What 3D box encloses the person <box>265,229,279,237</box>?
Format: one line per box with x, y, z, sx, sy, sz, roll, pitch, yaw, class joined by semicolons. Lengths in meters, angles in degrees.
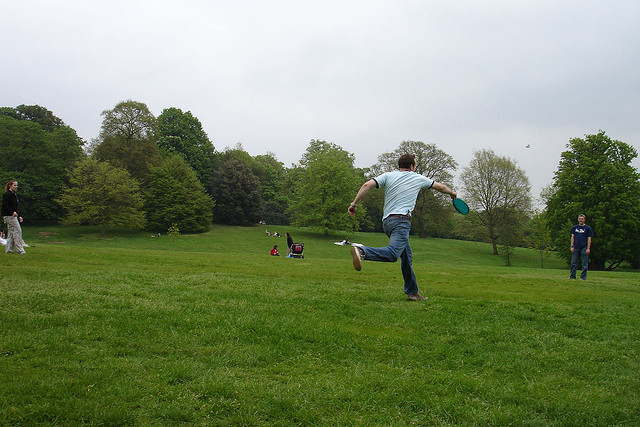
-6.663;2.841;70.609;1.792;0.906;0.811;9;15;-18;person

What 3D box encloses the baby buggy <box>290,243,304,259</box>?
-1.801;2.925;40.475;1.136;1.061;1.158;-1;0;8;baby buggy

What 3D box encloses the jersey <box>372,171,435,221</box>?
2.049;-0.459;12.901;1.353;1.163;0.836;4;13;10;jersey

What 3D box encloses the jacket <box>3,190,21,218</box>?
-11.457;-0.328;18.896;0.466;1.122;0.557;-6;15;-30;jacket

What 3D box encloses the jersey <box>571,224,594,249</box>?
10.500;0.939;20.580;0.412;0.982;0.735;-9;17;-39;jersey
